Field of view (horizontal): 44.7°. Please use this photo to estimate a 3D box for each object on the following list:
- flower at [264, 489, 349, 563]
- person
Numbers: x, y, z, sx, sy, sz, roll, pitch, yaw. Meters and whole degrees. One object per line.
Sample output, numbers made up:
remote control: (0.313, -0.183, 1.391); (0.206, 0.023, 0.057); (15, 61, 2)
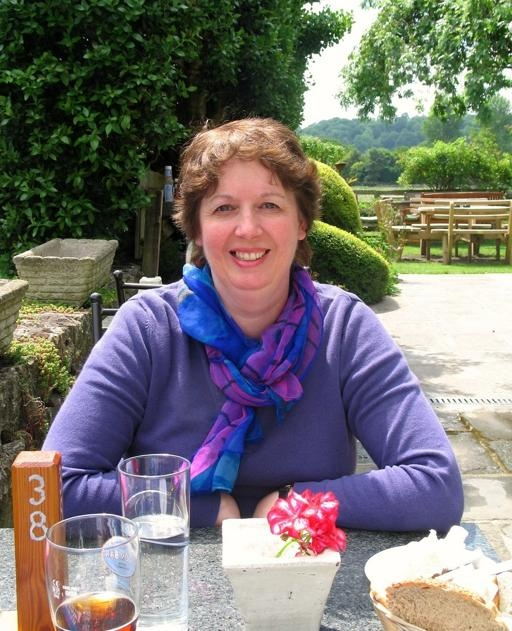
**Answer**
flower: (0.071, 0.303, 0.900); (0.093, 0.072, 0.090); (-3, 14, -14)
person: (0.005, -0.008, 1.594); (0.979, 1.002, 0.724); (1, 15, 3)
